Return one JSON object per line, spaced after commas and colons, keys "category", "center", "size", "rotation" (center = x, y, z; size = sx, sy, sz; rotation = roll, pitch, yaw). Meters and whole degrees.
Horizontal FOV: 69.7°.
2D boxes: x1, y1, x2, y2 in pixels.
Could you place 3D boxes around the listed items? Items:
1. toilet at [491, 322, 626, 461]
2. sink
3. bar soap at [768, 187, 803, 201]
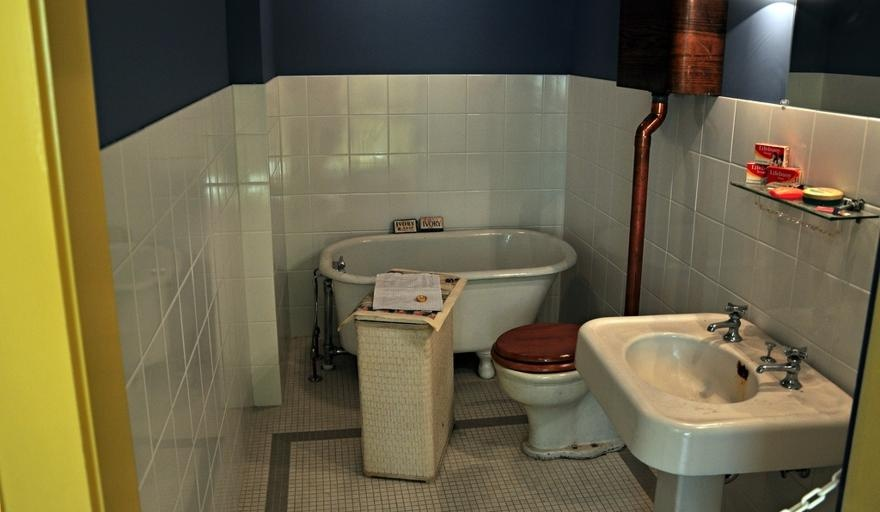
{"category": "toilet", "center": [0.589, 0.732, 3.618], "size": [0.858, 0.579, 0.538], "rotation": [-3, 19, -7]}
{"category": "sink", "center": [1.071, 0.516, 2.535], "size": [0.884, 0.266, 0.791], "rotation": [-4, 21, -7]}
{"category": "bar soap", "center": [1.323, -0.234, 2.428], "size": [0.116, 0.037, 0.068], "rotation": [9, 23, 25]}
